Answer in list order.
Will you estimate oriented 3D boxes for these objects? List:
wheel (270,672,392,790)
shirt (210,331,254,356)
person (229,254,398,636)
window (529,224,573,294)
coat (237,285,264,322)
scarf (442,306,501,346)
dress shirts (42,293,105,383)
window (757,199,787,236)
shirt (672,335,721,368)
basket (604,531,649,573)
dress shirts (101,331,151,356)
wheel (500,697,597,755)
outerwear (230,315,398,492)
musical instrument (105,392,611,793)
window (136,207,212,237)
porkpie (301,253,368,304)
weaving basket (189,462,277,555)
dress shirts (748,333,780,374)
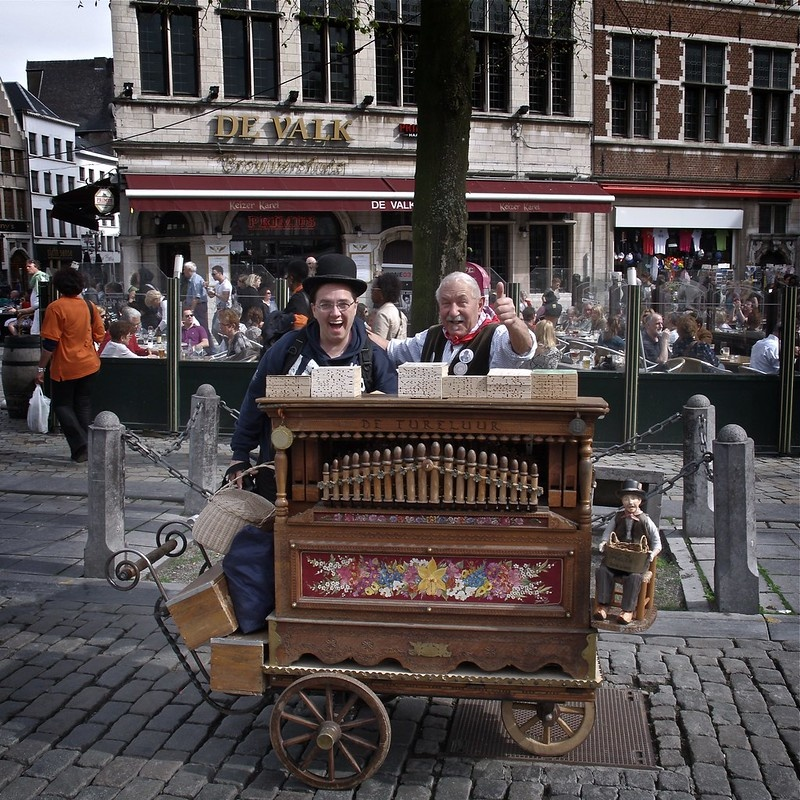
[{"bbox_3d":[-0.341,1.668,5.777,0.512,0.544,0.160,4,9,11],"label":"wheel"},{"bbox_3d":[-1.942,-0.653,13.642,0.364,0.303,0.251,4,-1,-2],"label":"shirt"},{"bbox_3d":[-0.413,0.397,6.637,1.125,2.477,0.953,9,26,7],"label":"person"},{"bbox_3d":[3.320,-3.177,25.545,0.918,1.426,0.078,0,1,-3],"label":"window"},{"bbox_3d":[-1.762,-1.145,13.678,0.364,0.362,0.145,0,15,13],"label":"coat"},{"bbox_3d":[0.451,-0.457,6.961,0.277,0.144,0.230,-8,27,30],"label":"scarf"},{"bbox_3d":[-3.325,-0.598,11.761,0.408,0.960,0.811,13,22,42],"label":"dress shirts"},{"bbox_3d":[8.917,-4.387,27.634,0.810,1.021,0.260,0,3,-3],"label":"window"},{"bbox_3d":[3.368,-0.554,13.020,0.542,0.436,0.304,4,4,17],"label":"shirt"},{"bbox_3d":[1.158,0.772,5.864,0.162,0.151,0.167,4,4,-5],"label":"basket"},{"bbox_3d":[-3.331,-0.665,13.945,0.586,0.428,0.274,0,9,-26],"label":"dress shirts"},{"bbox_3d":[0.766,1.652,5.853,0.350,0.429,0.137,-1,10,0],"label":"wheel"},{"bbox_3d":[-0.580,-0.059,6.604,0.905,0.906,0.447,-14,-20,11],"label":"outerwear"},{"bbox_3d":[-0.270,0.872,5.883,2.451,1.986,1.152,1,14,2],"label":"musical instrument"},{"bbox_3d":[-4.522,-3.497,23.183,1.439,0.496,0.285,3,12,13],"label":"window"},{"bbox_3d":[-0.350,-0.644,6.185,0.334,0.280,0.326,-1,12,-3],"label":"porkpie"},{"bbox_3d":[-0.866,0.648,6.143,0.361,0.345,0.372,35,-8,27],"label":"weaving basket"},{"bbox_3d":[4.081,-0.497,12.842,0.199,0.338,0.371,-4,12,-23],"label":"dress shirts"}]
